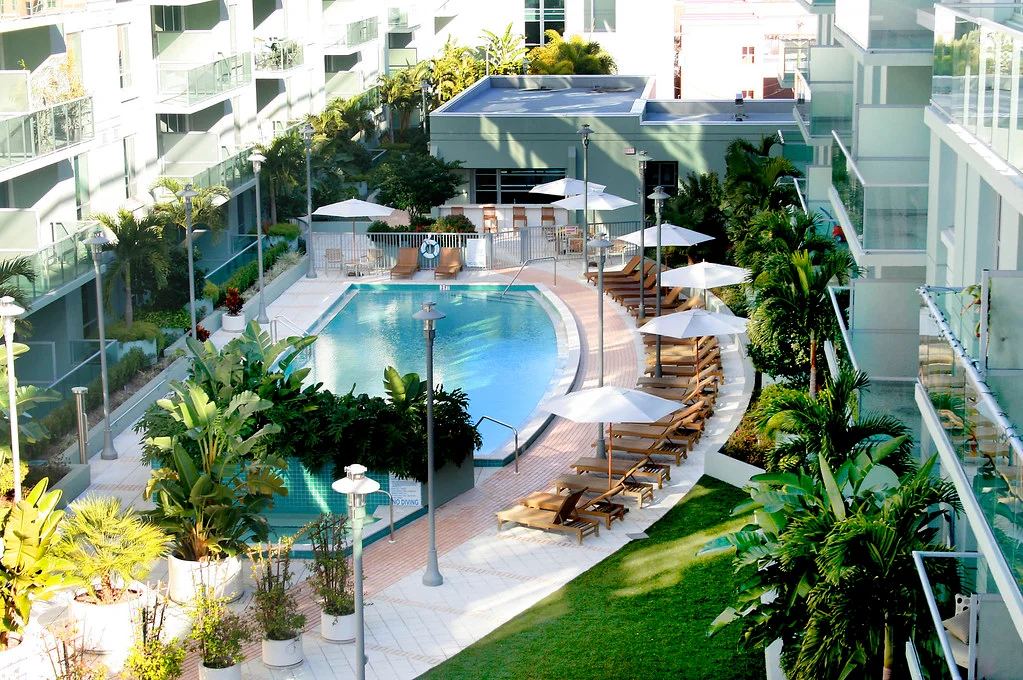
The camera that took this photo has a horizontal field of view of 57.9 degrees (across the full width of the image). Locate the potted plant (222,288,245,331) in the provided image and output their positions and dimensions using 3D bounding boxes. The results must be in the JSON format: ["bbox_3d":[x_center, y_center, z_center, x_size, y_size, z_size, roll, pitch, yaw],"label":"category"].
[{"bbox_3d":[-10.201,-1.134,33.672,0.839,1.530,1.041,-8,16,-17],"label":"potted plant"}]

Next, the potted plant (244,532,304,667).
[{"bbox_3d":[-4.473,4.470,17.324,0.901,1.919,2.999,-8,16,-17],"label":"potted plant"}]

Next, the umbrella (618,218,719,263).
[{"bbox_3d":[5.523,-3.578,32.603,2.357,1.016,2.317,-5,15,-9],"label":"umbrella"}]

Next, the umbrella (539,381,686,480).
[{"bbox_3d":[2.187,2.411,21.252,2.403,1.504,2.214,-12,19,-41],"label":"umbrella"}]

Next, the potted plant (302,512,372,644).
[{"bbox_3d":[-3.449,4.304,17.642,0.862,2.033,2.703,-6,16,-12],"label":"potted plant"}]

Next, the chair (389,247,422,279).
[{"bbox_3d":[-4.562,-3.346,39.967,0.814,0.864,1.541,1,23,6],"label":"chair"}]

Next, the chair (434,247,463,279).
[{"bbox_3d":[-2.707,-3.301,39.729,1.050,1.082,1.472,-2,16,4],"label":"chair"}]

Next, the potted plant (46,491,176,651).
[{"bbox_3d":[-7.220,4.216,16.600,1.740,2.523,1.686,10,23,9],"label":"potted plant"}]

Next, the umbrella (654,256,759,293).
[{"bbox_3d":[6.203,-2.066,29.232,1.752,0.719,1.814,-13,19,-32],"label":"umbrella"}]
